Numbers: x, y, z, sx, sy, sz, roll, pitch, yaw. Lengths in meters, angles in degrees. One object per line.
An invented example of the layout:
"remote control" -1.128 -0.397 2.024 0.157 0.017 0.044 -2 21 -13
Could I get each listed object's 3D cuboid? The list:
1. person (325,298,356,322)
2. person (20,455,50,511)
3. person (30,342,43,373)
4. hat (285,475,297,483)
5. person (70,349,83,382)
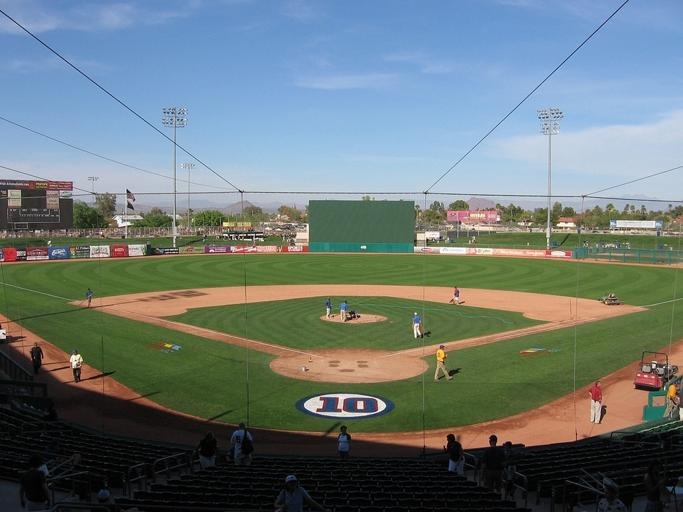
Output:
"person" 0.109 3.369 47.931 1.657 0.800 1.513 -1 5 -5
"person" -9.057 6.811 23.003 0.815 1.708 1.143 -4 10 -22
"person" -14.435 4.703 36.940 0.486 1.447 1.825 -4 10 -21
"hat" -1.437 6.412 22.376 0.298 0.273 0.318 1 9 3
"person" -12.170 4.963 35.802 0.453 1.541 1.177 -3 10 -19
